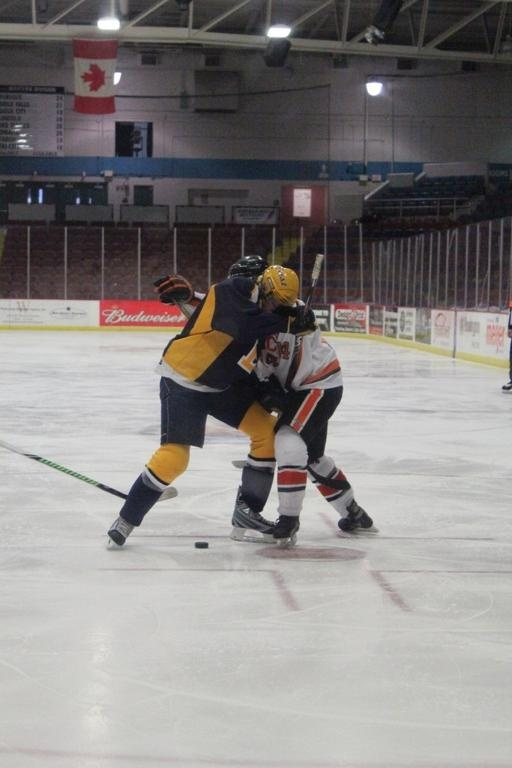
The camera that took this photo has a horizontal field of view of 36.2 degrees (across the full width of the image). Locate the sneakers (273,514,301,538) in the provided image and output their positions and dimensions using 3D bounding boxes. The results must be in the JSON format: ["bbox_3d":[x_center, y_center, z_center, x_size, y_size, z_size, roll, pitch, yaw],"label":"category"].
[{"bbox_3d":[0.139,0.649,3.552,0.112,0.111,0.285,-2,-11,5],"label":"sneakers"}]

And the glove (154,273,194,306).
[{"bbox_3d":[-0.415,-0.490,4.137,0.165,0.088,0.200,-2,3,12],"label":"glove"}]

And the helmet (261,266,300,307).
[{"bbox_3d":[0.122,-0.425,3.428,0.163,0.172,0.179,1,46,-17],"label":"helmet"}]

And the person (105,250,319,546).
[{"bbox_3d":[-0.195,0.080,3.503,0.874,1.301,0.563,2,4,5],"label":"person"}]

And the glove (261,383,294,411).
[{"bbox_3d":[0.095,0.055,3.686,0.120,0.058,0.149,22,16,-25],"label":"glove"}]

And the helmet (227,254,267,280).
[{"bbox_3d":[-0.071,-0.542,3.584,0.177,0.117,0.133,10,4,18],"label":"helmet"}]

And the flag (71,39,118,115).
[{"bbox_3d":[-3.525,-6.711,17.034,0.889,1.686,0.551,1,5,-11],"label":"flag"}]
